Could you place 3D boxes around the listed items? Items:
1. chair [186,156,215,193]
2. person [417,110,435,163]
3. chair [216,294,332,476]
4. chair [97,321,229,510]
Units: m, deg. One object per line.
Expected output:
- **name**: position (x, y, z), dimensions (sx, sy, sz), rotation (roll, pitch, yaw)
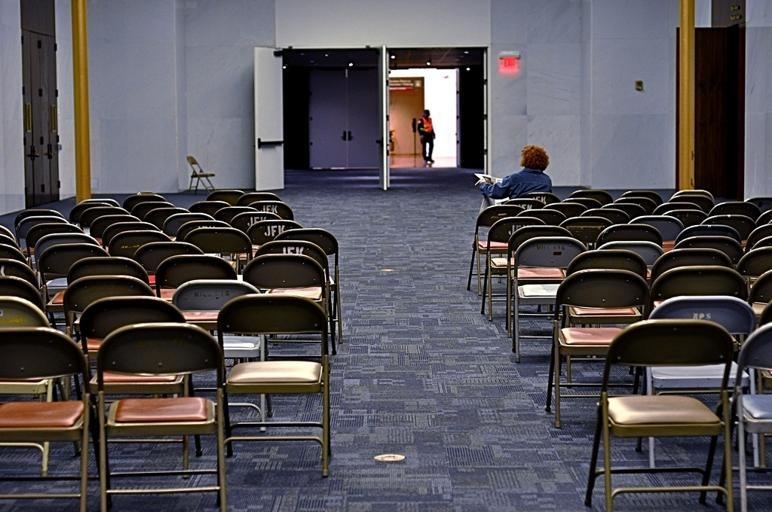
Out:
- **chair**: position (-4.735, -2.082, 18.814), dimensions (0.584, 0.803, 0.469), rotation (5, 15, 4)
- **person**: position (1.566, -4.524, 28.385), dimensions (0.538, 2.185, 1.355), rotation (-1, 7, 4)
- **chair**: position (-0.683, 0.719, 4.707), dimensions (0.717, 1.096, 1.028), rotation (-3, 7, -11)
- **chair**: position (-1.237, 0.854, 4.035), dimensions (0.670, 1.088, 0.752), rotation (-4, 7, -17)
